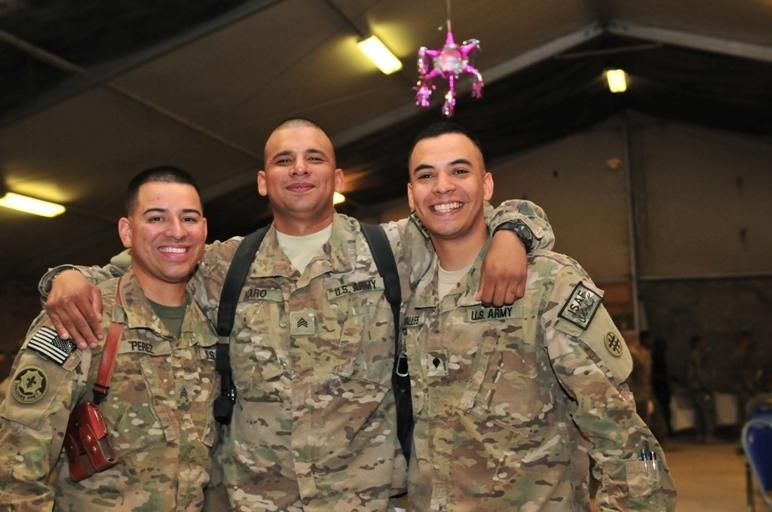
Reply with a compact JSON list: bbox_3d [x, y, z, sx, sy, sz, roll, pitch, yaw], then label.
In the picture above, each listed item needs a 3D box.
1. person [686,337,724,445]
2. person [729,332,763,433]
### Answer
[{"bbox_3d":[4.786,1.946,11.352,0.383,1.726,1.054,-11,-23,19],"label":"person"},{"bbox_3d":[5.251,1.679,10.828,0.421,1.202,0.926,-12,-23,22],"label":"person"}]
